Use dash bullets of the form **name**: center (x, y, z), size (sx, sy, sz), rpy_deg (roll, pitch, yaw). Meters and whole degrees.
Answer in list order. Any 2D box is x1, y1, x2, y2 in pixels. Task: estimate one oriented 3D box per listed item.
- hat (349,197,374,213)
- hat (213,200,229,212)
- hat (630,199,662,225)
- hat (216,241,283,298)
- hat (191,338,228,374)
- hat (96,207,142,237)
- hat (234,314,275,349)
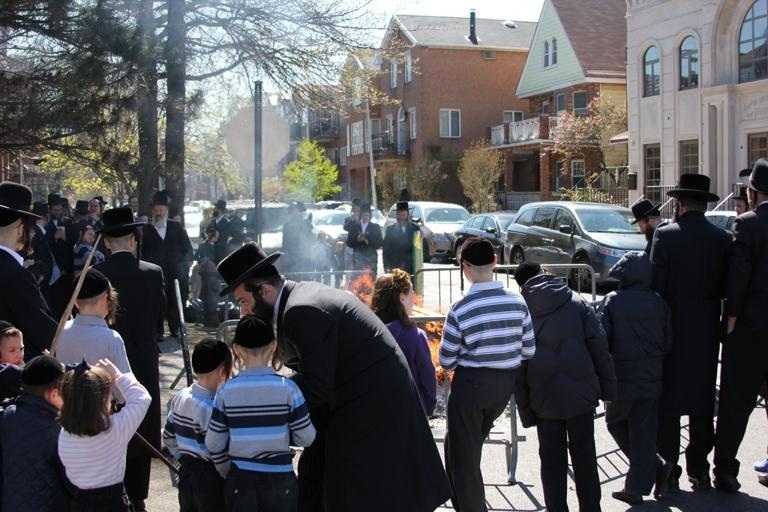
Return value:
- **hat**: center (-0.493, -1.045, 18.388), size (0.503, 0.213, 0.597), rpy_deg (0, 3, 0)
- **hat**: center (-3.451, -1.095, 19.345), size (0.253, 0.183, 0.310), rpy_deg (15, 2, 14)
- **hat**: center (3.307, -0.519, 11.699), size (0.315, 0.144, 0.368), rpy_deg (-33, -8, -2)
- **hat**: center (-1.371, 0.067, 9.055), size (0.809, 0.332, 0.762), rpy_deg (-34, 8, -15)
- **hat**: center (-1.709, 0.964, 9.068), size (0.250, 0.231, 0.357), rpy_deg (-3, 27, 16)
- **hat**: center (-3.013, -0.438, 10.481), size (0.341, 0.167, 0.406), rpy_deg (-11, 3, 11)
- **hat**: center (-1.259, 0.642, 8.873), size (0.415, 0.211, 0.440), rpy_deg (1, 20, 2)
